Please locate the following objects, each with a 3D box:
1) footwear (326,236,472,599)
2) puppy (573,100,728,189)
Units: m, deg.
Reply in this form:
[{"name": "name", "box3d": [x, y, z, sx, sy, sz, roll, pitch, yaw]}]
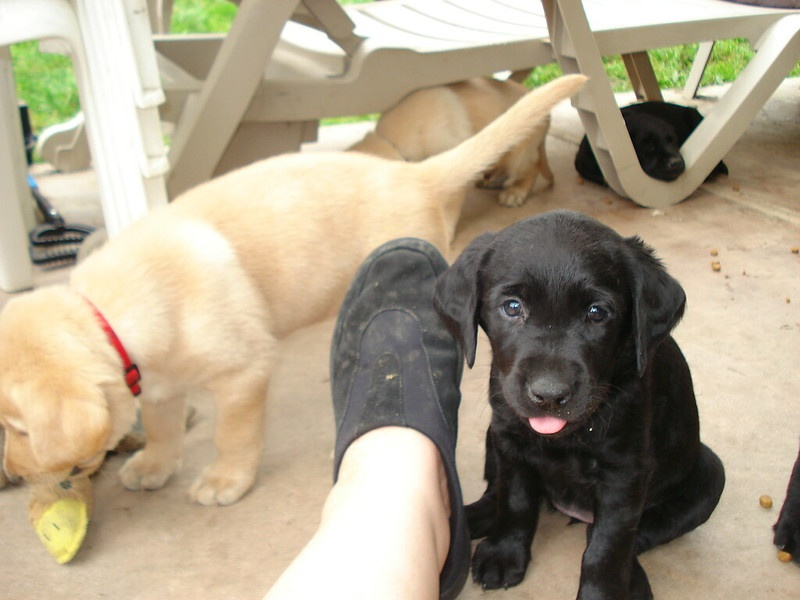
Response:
[{"name": "footwear", "box3d": [0.018, 0.286, 2.245, 0.364, 0.406, 1.139, -5, 81, 23]}, {"name": "puppy", "box3d": [1.375, -0.862, 3.801, 0.504, 0.223, 0.724, -12, 27, 3]}]
